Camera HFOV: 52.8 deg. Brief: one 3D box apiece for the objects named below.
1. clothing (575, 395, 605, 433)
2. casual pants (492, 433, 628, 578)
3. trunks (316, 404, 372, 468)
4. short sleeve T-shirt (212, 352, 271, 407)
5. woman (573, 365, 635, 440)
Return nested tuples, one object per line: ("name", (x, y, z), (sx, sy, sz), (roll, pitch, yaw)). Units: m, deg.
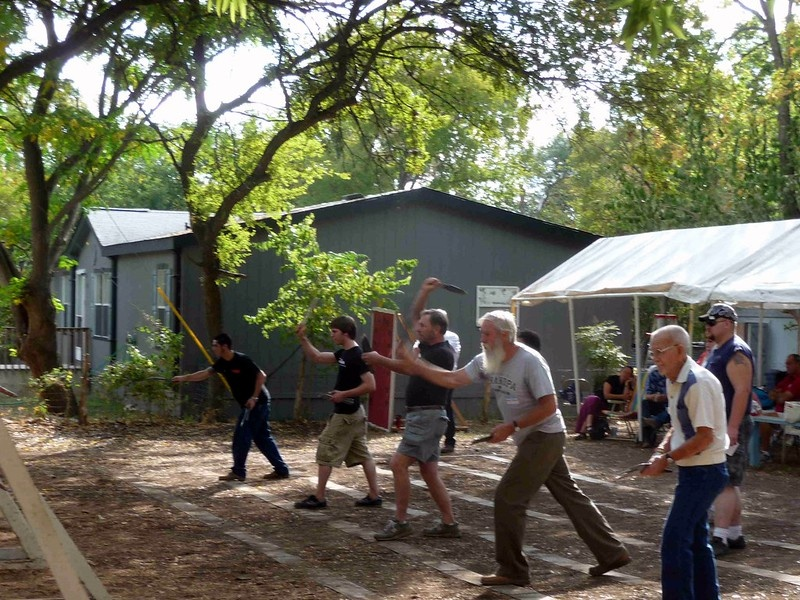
("clothing", (3.624, 2.243, 15.706), (0.593, 0.712, 0.426), (16, 12, 30))
("casual pants", (1.310, 1.777, 7.068), (1.130, 1.256, 0.327), (0, -3, -22))
("trunks", (-0.611, 1.564, 9.356), (0.445, 0.649, 0.726), (15, -30, 1))
("short sleeve T-shirt", (-2.146, 1.039, 10.460), (0.607, 0.679, 0.322), (-2, -3, 26))
("woman", (4.201, 2.109, 15.809), (1.065, 1.053, 0.786), (-1, -9, 24))
